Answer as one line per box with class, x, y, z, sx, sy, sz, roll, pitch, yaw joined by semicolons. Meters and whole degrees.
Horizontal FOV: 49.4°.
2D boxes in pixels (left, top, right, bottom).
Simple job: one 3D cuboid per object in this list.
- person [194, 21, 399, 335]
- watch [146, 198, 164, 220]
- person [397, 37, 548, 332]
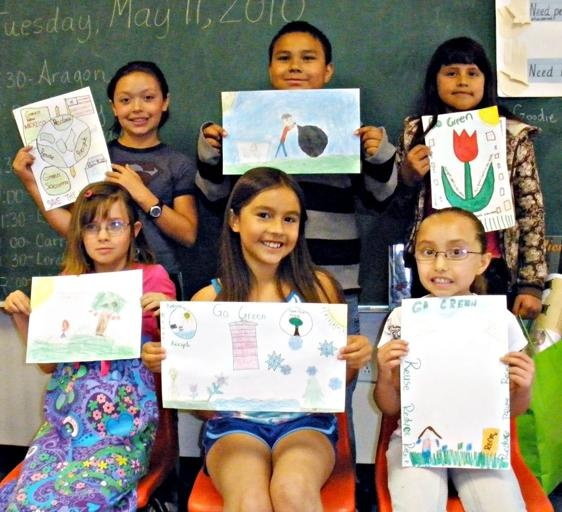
person;0.035;-0.165;2.233;0.715;1.359;0.484;1;5;-2
watch;-0.445;-0.163;2.144;0.045;0.069;0.068;29;-6;-26
person;0.702;-0.119;2.268;0.529;1.338;0.425;1;12;20
